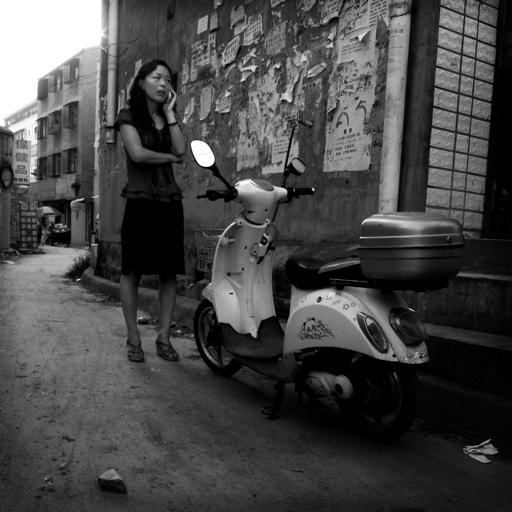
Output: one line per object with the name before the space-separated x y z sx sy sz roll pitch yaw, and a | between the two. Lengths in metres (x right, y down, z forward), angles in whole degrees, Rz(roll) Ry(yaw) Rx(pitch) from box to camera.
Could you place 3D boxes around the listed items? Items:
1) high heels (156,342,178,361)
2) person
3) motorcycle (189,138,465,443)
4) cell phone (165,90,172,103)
high heels | -0.711 0.746 3.920 0.086 0.107 0.254 2 3 -32
person | -0.842 -0.380 3.861 0.575 2.357 0.336 1 1 -21
motorcycle | 0.252 0.144 2.764 0.508 1.141 1.777 1 3 -35
cell phone | -0.692 -1.279 3.872 0.038 0.059 0.095 2 51 -2
